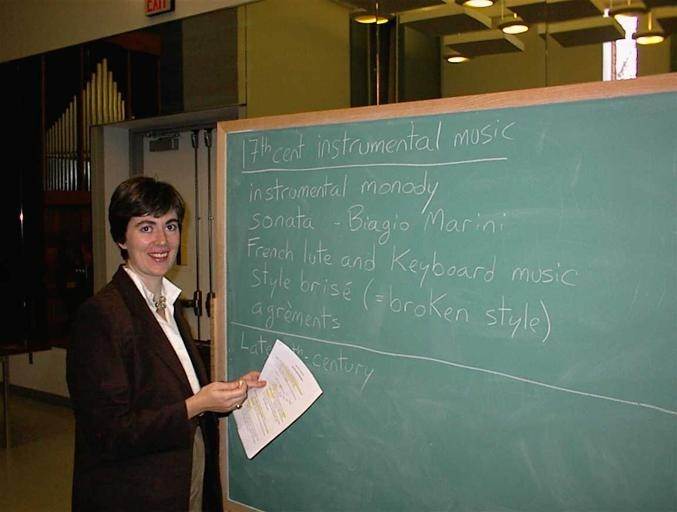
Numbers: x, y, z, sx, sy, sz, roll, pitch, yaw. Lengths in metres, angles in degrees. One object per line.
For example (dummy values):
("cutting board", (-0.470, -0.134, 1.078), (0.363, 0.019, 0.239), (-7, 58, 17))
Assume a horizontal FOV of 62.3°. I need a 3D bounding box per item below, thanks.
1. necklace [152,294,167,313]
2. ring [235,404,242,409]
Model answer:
("necklace", (-0.666, 0.179, 2.093), (0.043, 0.059, 0.017), (2, -21, -23))
("ring", (-0.369, 0.559, 2.088), (0.020, 0.023, 0.020), (-1, -15, 0))
